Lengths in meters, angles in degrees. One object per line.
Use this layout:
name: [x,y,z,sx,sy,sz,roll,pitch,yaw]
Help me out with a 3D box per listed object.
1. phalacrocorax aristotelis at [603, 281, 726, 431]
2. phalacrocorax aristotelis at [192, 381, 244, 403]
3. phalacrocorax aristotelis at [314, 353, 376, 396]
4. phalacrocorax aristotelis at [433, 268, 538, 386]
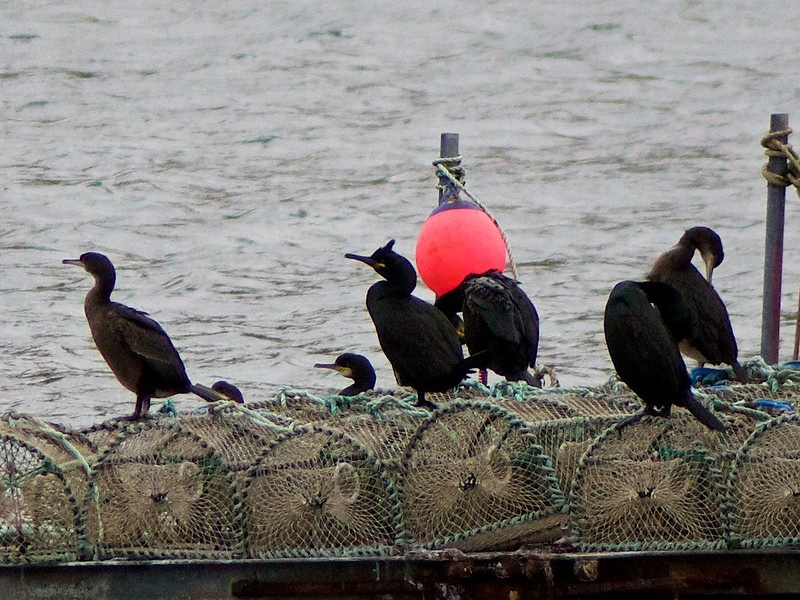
phalacrocorax aristotelis: [2.111,0.477,19.437,0.854,1.202,0.542,-3,13,16]
phalacrocorax aristotelis: [-1.523,0.834,21.079,0.185,0.179,0.511,-5,7,-25]
phalacrocorax aristotelis: [-0.458,0.720,20.962,0.552,0.402,0.194,-1,-5,-33]
phalacrocorax aristotelis: [0.836,0.233,20.674,0.675,1.315,0.510,-11,0,33]
